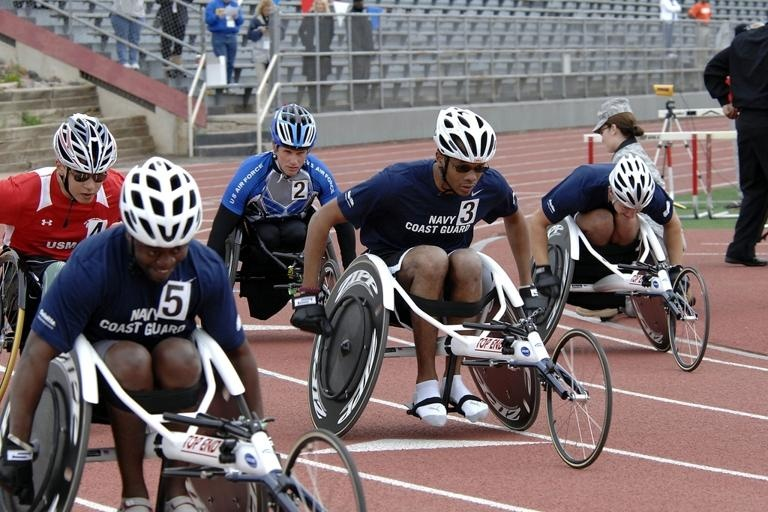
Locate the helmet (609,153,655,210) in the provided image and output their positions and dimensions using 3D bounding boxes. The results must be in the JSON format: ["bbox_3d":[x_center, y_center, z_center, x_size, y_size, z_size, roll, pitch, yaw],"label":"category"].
[{"bbox_3d":[2.078,-0.673,8.405,0.329,0.473,0.173,-2,-28,-9],"label":"helmet"}]

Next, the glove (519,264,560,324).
[{"bbox_3d":[1.241,0.289,8.152,0.243,0.429,0.805,0,-2,-4],"label":"glove"}]

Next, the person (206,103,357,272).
[{"bbox_3d":[-0.957,-0.689,9.042,0.794,1.768,0.987,-1,5,-10],"label":"person"}]

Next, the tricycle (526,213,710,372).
[{"bbox_3d":[2.066,0.228,8.745,1.428,1.355,2.265,6,-2,1],"label":"tricycle"}]

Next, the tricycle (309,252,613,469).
[{"bbox_3d":[0.477,0.626,7.028,1.337,1.105,1.963,3,-2,-34],"label":"tricycle"}]

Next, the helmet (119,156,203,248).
[{"bbox_3d":[-1.247,-0.292,5.574,0.431,0.474,0.391,-4,14,-14],"label":"helmet"}]

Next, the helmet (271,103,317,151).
[{"bbox_3d":[-0.814,-1.163,8.872,0.307,0.247,0.457,-1,22,-15],"label":"helmet"}]
